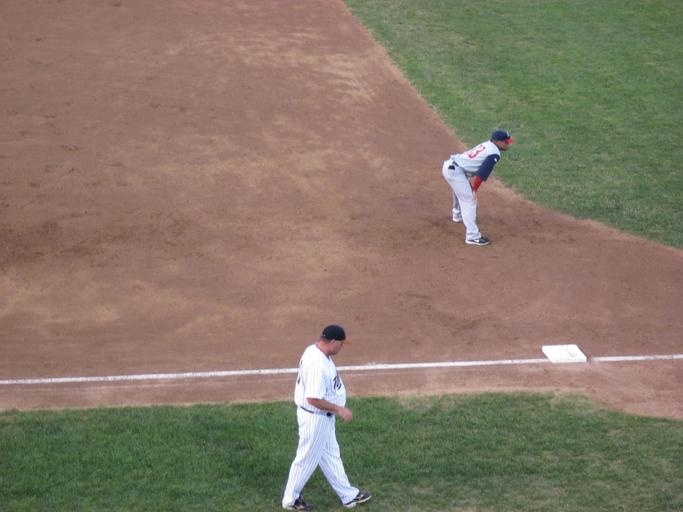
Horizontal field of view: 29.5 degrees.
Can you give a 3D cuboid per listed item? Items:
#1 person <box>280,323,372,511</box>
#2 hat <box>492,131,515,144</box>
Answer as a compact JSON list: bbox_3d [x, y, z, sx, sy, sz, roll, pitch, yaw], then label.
[{"bbox_3d":[-0.370,2.897,22.610,1.445,3.166,1.186,-9,26,-25],"label":"person"},{"bbox_3d":[3.417,-2.492,27.368,0.434,0.236,0.317,-3,34,-19],"label":"hat"}]
